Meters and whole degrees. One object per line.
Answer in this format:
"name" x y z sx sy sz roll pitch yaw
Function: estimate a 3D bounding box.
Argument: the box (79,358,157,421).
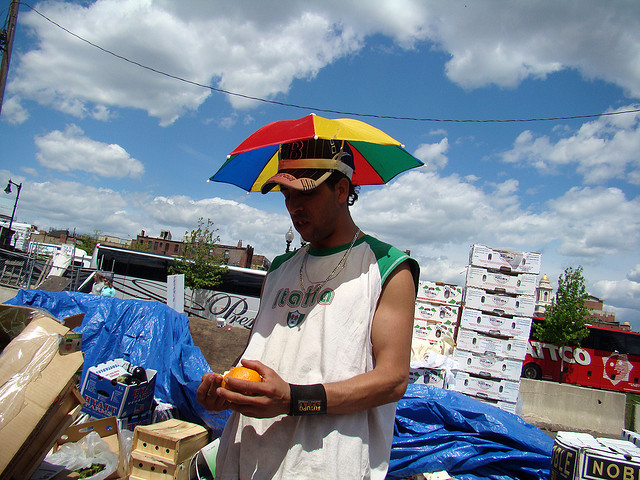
"box" -2.863 2.239 5.246 0.834 0.540 0.890 6 -15 23

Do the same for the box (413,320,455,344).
"box" 2.683 2.170 8.582 0.914 0.477 0.436 10 -6 15

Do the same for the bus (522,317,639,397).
"bus" 13.469 5.884 18.529 4.602 3.304 1.011 10 -6 10

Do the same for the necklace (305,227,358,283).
"necklace" 0.016 0.135 2.069 0.110 0.229 0.322 16 -8 -43

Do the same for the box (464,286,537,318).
"box" 3.802 1.293 7.697 1.258 0.492 1.325 8 -8 23

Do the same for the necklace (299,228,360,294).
"necklace" 0.046 0.118 1.990 0.023 0.405 0.269 28 1 -27

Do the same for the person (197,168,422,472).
"person" -0.018 0.461 1.863 0.943 1.711 0.679 8 -7 17

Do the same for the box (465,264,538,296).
"box" 3.835 0.892 7.712 1.134 0.470 1.190 5 -4 27

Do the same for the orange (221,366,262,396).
"orange" -0.388 0.660 1.743 0.129 0.140 0.139 12 -21 4

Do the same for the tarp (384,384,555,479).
"tarp" 1.997 2.779 4.984 2.107 0.953 1.354 11 -6 7

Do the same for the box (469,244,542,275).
"box" 3.895 0.414 7.711 1.320 0.449 0.174 10 -6 16
